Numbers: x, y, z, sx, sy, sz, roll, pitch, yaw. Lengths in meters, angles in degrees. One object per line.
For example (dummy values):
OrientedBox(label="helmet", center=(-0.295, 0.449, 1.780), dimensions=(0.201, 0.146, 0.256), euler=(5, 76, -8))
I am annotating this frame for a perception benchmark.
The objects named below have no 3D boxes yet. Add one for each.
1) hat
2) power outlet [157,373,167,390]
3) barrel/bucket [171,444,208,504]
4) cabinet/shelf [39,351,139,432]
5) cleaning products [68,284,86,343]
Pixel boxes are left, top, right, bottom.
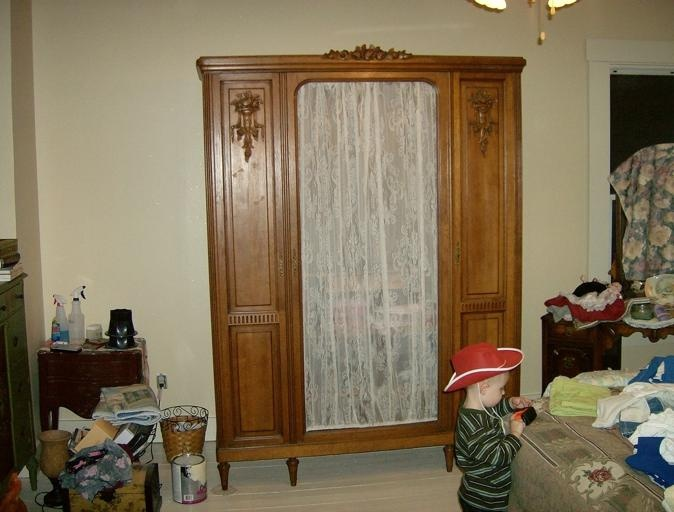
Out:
OrientedBox(label="hat", center=(0.708, 0.550, 2.922), dimensions=(0.313, 0.120, 0.268), euler=(-27, 3, 12))
OrientedBox(label="power outlet", center=(-1.257, 0.896, 4.266), dimensions=(0.068, 0.110, 0.043), euler=(-3, 13, -8))
OrientedBox(label="barrel/bucket", center=(-0.903, 1.357, 3.737), dimensions=(0.243, 0.273, 0.237), euler=(0, 0, 0))
OrientedBox(label="cabinet/shelf", center=(-1.600, 0.737, 4.023), dimensions=(0.685, 0.679, 0.483), euler=(-1, 0, -7))
OrientedBox(label="cleaning products", center=(-1.765, 0.388, 4.045), dimensions=(0.136, 0.345, 0.378), euler=(-6, 14, -23))
